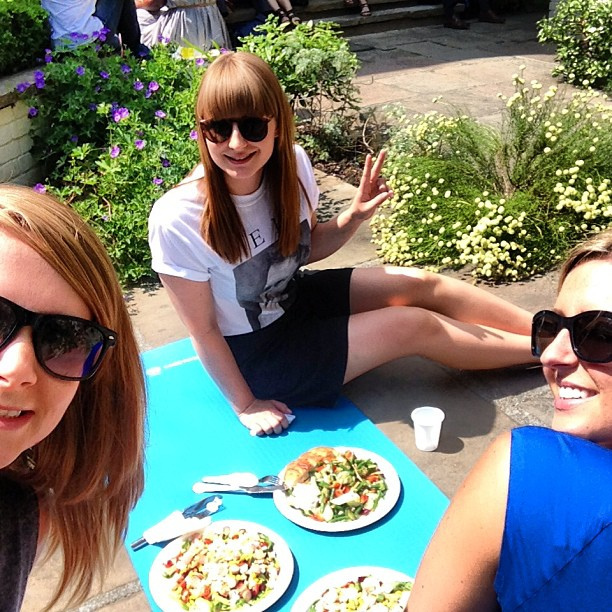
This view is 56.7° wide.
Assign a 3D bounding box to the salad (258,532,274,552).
[{"bbox_3d":[-0.133,0.777,1.889,0.042,0.012,0.039,29,2,1],"label":"salad"}]

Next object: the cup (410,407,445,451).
[{"bbox_3d":[0.487,0.506,2.404,0.213,0.124,0.178,2,19,6],"label":"cup"}]

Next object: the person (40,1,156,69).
[{"bbox_3d":[-1.880,-2.421,5.036,0.834,0.526,1.560,-11,29,-11],"label":"person"}]

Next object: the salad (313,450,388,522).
[{"bbox_3d":[0.166,0.668,2.119,0.271,0.063,0.300,0,28,6],"label":"salad"}]

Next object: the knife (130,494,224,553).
[{"bbox_3d":[-0.496,0.824,2.125,0.518,0.067,0.107,-32,12,24],"label":"knife"}]
